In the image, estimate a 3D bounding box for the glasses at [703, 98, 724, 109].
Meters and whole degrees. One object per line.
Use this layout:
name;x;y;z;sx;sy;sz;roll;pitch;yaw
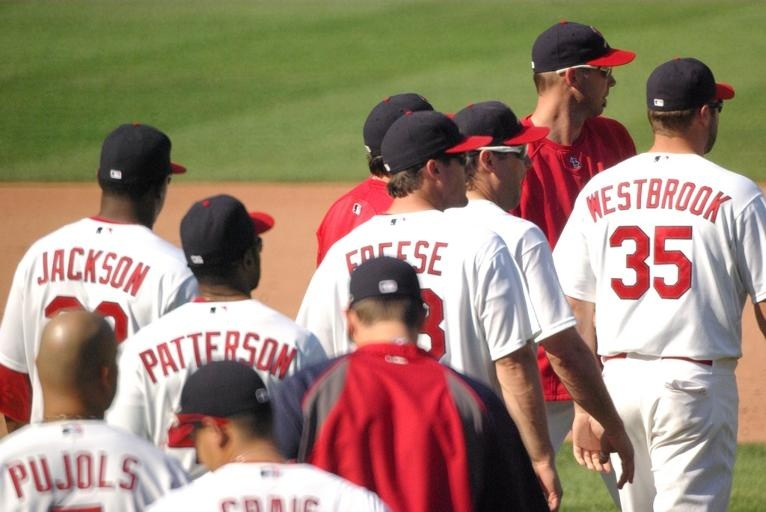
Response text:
glasses;3.360;-1.569;16.429;0.152;0.038;0.117;-16;-8;35

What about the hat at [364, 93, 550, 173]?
hat;0.661;-1.212;15.953;1.239;0.438;0.797;-13;5;-3
